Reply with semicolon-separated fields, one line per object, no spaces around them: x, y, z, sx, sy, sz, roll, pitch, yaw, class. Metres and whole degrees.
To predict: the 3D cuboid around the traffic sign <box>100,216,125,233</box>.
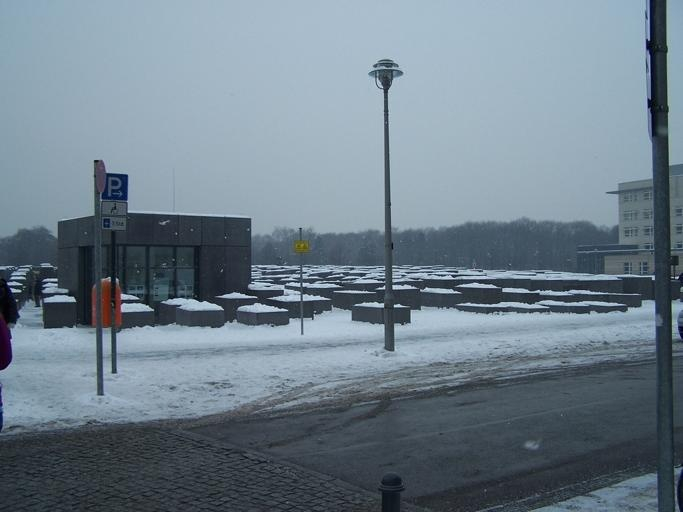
-4.747;-0.682;17.066;0.418;0.284;0.303;-2;8;-29;traffic sign

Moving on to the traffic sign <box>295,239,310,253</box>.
-1.297;-0.225;26.637;0.345;0.538;0.687;0;0;21;traffic sign

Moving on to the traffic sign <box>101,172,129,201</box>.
-4.661;-1.432;16.941;0.614;0.572;0.538;-2;5;-30;traffic sign
